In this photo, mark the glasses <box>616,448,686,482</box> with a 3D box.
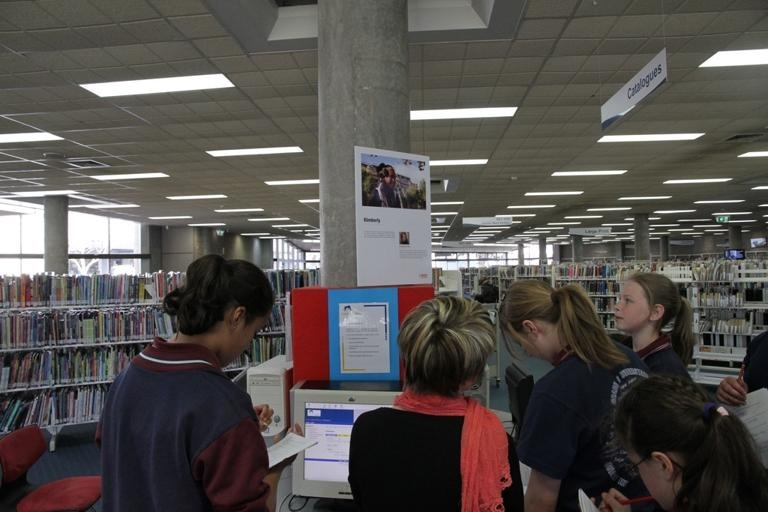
[{"bbox_3d":[1.431,1.082,2.793,0.143,0.075,0.182,3,-6,-23],"label":"glasses"}]

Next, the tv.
[{"bbox_3d":[-0.209,1.138,3.200,0.794,0.705,0.430,0,-5,8],"label":"tv"}]

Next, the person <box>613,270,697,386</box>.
[{"bbox_3d":[1.984,0.566,3.902,0.589,0.870,0.822,6,2,13],"label":"person"}]
